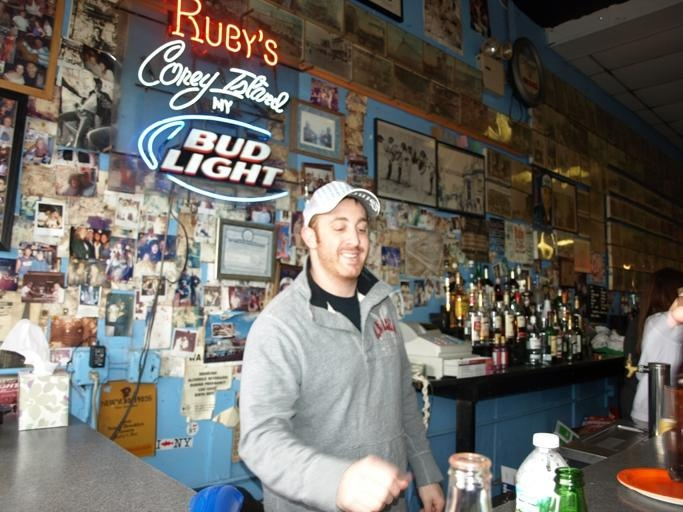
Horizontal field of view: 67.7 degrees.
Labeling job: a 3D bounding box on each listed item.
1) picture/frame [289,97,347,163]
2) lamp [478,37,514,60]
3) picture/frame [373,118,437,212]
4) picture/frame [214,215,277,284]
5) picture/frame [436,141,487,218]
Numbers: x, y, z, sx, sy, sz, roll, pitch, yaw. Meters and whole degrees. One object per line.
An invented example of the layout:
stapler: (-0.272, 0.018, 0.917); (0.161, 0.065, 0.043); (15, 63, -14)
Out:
picture/frame: (-0.167, -0.816, 3.306); (0.449, 0.375, 0.032); (5, -7, -41)
lamp: (1.434, -1.879, 4.674); (0.362, 0.171, 0.162); (11, -11, -37)
picture/frame: (0.453, -0.664, 3.775); (0.034, 0.656, 0.797); (-9, -12, 43)
picture/frame: (-0.565, -0.035, 2.944); (0.375, 0.344, 0.051); (2, -7, -37)
picture/frame: (0.983, -0.631, 4.246); (0.636, 0.474, 0.065); (7, -10, -44)
